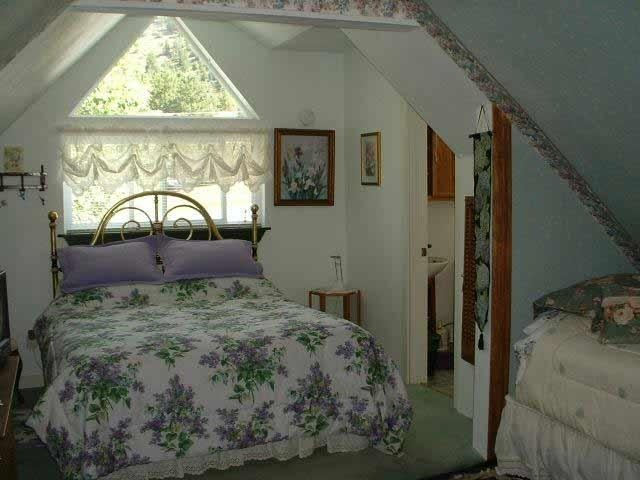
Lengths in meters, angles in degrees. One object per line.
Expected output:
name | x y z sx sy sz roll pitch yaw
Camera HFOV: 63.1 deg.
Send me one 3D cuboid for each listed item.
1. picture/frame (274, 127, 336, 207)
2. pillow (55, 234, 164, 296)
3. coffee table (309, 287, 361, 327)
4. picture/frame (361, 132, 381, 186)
picture/frame | -0.190 -0.760 5.405 0.749 1.007 0.062 0 5 -18
pillow | -1.696 0.214 4.256 0.594 0.170 0.479 -5 47 -28
coffee table | 0.176 0.634 5.345 0.412 0.513 0.387 -3 4 -31
picture/frame | 0.487 -0.765 4.962 0.043 0.603 0.518 0 0 -22
